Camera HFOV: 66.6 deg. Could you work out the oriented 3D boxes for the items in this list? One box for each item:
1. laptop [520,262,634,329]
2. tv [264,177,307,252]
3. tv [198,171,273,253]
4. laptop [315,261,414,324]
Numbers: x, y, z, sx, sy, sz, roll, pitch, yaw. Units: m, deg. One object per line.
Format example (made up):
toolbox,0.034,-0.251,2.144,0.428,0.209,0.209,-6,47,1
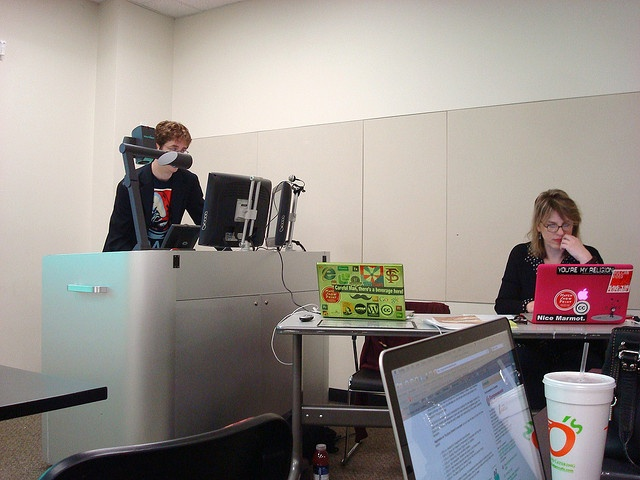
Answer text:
laptop,1.210,0.248,2.273,0.375,0.272,0.292,2,-3,0
tv,-0.234,-0.181,3.410,0.205,0.578,0.566,10,-2,7
tv,-0.494,-0.153,2.900,0.478,0.458,0.177,2,11,-44
laptop,0.196,0.251,2.380,0.372,0.284,0.280,1,4,12
